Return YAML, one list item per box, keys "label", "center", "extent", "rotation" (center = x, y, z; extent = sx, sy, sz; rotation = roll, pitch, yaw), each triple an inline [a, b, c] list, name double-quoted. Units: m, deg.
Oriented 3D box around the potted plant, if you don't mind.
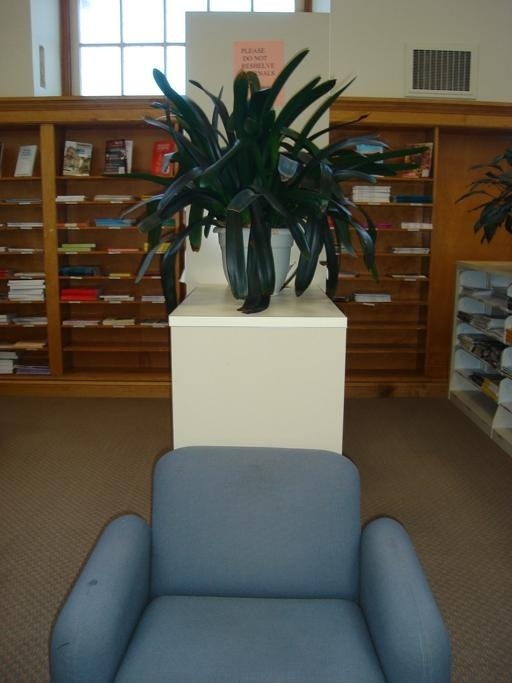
- label: "potted plant"
  center: [-0.020, -0.344, 1.384]
  extent: [0.723, 0.576, 0.727]
  rotation: [-3, 6, -36]
